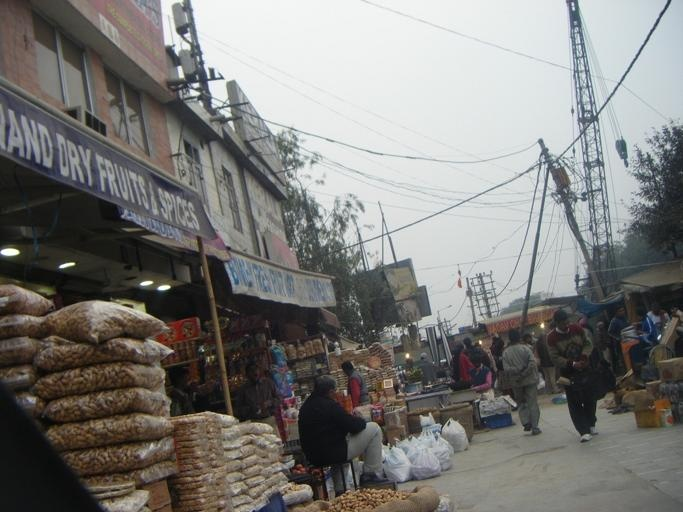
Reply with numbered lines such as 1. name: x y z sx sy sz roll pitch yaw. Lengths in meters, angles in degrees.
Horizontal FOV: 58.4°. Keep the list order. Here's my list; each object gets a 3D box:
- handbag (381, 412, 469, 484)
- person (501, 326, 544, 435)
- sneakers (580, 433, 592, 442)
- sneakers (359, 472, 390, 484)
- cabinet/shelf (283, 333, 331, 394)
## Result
1. handbag: 1.273 3.007 9.386 0.835 0.383 0.929 -15 -1 42
2. person: 3.343 2.291 11.299 0.586 1.884 0.977 -11 -11 14
3. sneakers: 3.667 2.723 9.191 0.093 0.076 0.197 -23 -13 30
4. sneakers: 0.454 3.096 8.549 0.414 0.196 0.159 -2 -8 4
5. cabinet/shelf: -0.820 2.483 13.947 1.296 1.397 0.466 -4 -14 -9
